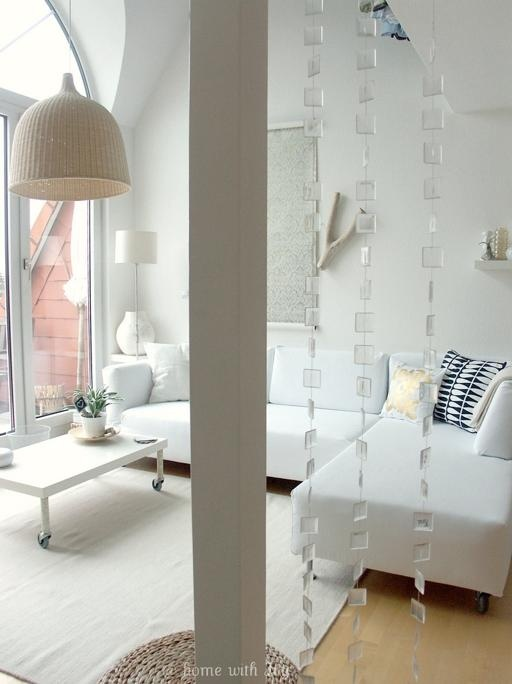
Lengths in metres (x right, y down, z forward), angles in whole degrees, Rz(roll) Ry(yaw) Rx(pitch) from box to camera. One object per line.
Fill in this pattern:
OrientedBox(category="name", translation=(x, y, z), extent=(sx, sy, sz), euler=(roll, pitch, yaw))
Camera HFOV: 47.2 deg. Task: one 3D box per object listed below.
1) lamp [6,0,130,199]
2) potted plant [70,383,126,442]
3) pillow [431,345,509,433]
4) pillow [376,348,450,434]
OrientedBox(category="lamp", translation=(-0.641, -0.717, 2.000), extent=(0.401, 0.414, 0.402), euler=(-2, 5, -13))
OrientedBox(category="potted plant", translation=(-0.848, 0.379, 3.173), extent=(0.309, 0.314, 0.307), euler=(-3, 7, -38))
OrientedBox(category="pillow", translation=(0.995, 0.233, 2.722), extent=(0.174, 0.355, 0.385), euler=(-2, 5, -20))
OrientedBox(category="pillow", translation=(0.758, 0.214, 3.102), extent=(0.146, 0.501, 0.468), euler=(23, -16, -31))
